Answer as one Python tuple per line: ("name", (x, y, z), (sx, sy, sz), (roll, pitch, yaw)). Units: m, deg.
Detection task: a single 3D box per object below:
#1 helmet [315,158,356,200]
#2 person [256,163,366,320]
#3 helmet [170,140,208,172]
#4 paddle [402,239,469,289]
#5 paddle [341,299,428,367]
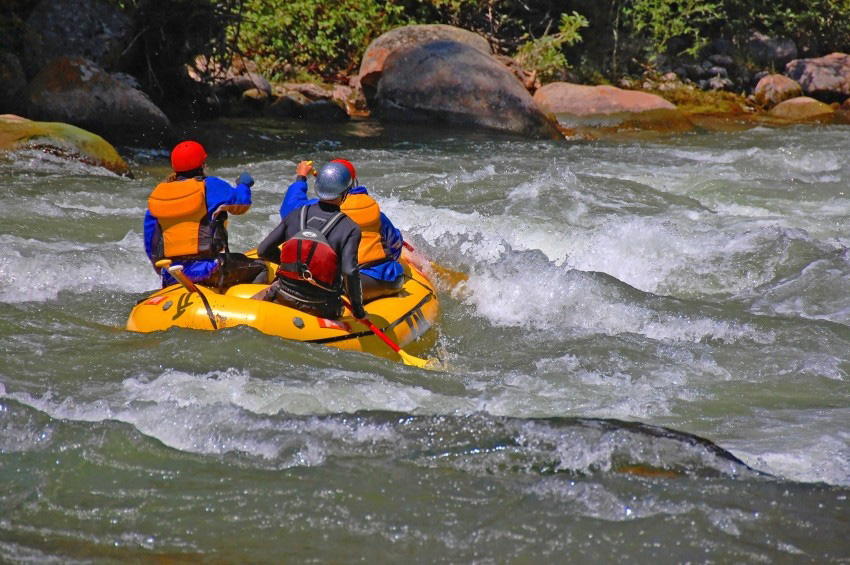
("helmet", (-1.176, -1.349, 16.662), (0.450, 0.567, 0.307), (19, -29, 8))
("person", (-1.450, -0.543, 16.736), (1.369, 2.094, 0.534), (2, 9, 1))
("helmet", (-3.134, -1.655, 16.804), (0.418, 0.451, 0.280), (5, -37, 6))
("paddle", (0.091, -0.184, 18.780), (0.961, 0.193, 0.601), (32, 15, 17))
("paddle", (-0.608, 0.680, 17.055), (1.237, 0.199, 0.180), (38, 20, -11))
